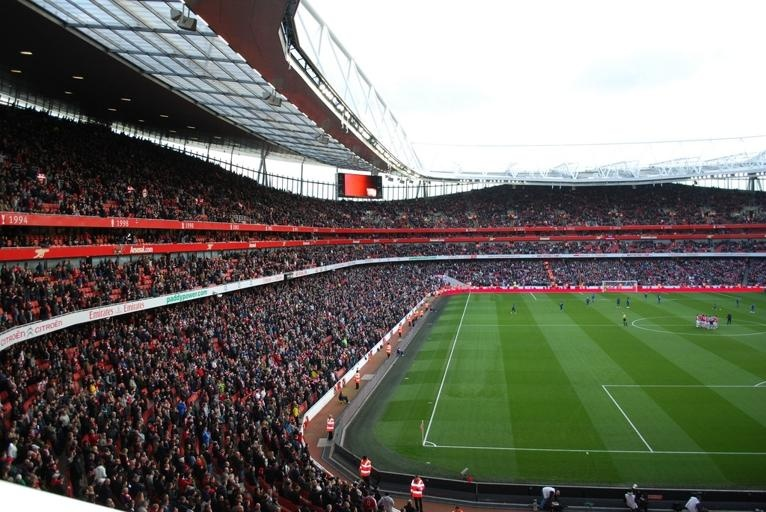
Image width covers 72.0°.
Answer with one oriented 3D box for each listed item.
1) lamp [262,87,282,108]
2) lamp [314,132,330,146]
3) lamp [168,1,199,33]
[{"bbox_3d":[-6.834,-9.780,32.413,0.887,0.811,0.853,22,-19,26],"label":"lamp"},{"bbox_3d":[-4.950,-9.491,42.632,1.012,0.854,0.395,4,-17,-8],"label":"lamp"},{"bbox_3d":[-9.069,-10.882,23.909,1.114,0.974,0.430,26,-11,-7],"label":"lamp"}]
